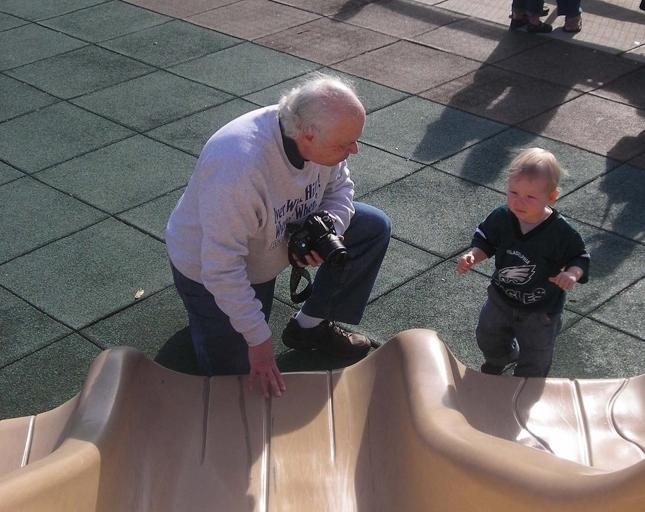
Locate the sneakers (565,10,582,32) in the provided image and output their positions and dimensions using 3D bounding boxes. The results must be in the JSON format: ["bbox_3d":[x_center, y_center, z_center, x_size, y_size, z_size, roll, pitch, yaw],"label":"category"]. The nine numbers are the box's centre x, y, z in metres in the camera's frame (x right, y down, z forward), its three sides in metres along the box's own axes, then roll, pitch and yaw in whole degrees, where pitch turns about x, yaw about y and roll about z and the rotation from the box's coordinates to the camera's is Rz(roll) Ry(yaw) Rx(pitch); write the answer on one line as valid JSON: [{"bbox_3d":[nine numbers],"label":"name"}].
[{"bbox_3d":[2.981,-2.930,7.989,0.116,0.133,0.339,7,43,28],"label":"sneakers"}]

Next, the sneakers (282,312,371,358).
[{"bbox_3d":[0.003,0.499,3.868,0.594,0.266,0.212,3,41,-6],"label":"sneakers"}]

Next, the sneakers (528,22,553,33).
[{"bbox_3d":[2.553,-2.810,7.913,0.280,0.125,0.120,0,0,-2],"label":"sneakers"}]

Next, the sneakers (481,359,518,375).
[{"bbox_3d":[0.941,0.624,3.611,0.181,0.074,0.061,-12,64,22],"label":"sneakers"}]

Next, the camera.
[{"bbox_3d":[-0.038,-0.034,3.219,0.264,0.159,0.266,-23,62,-13],"label":"camera"}]
